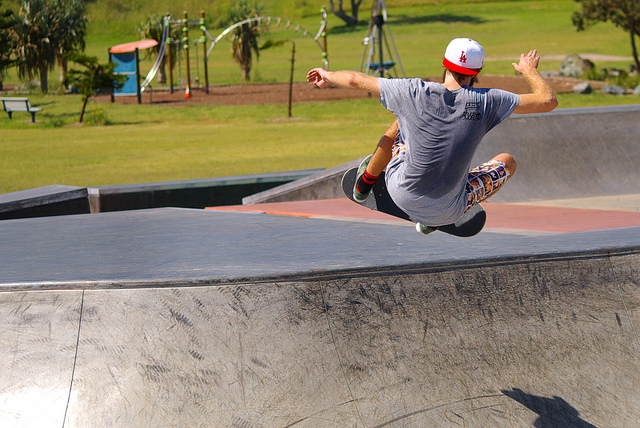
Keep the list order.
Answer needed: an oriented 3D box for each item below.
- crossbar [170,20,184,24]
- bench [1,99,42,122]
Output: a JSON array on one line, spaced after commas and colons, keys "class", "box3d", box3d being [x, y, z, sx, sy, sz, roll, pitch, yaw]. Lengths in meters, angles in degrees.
[{"class": "crossbar", "box3d": [-2.452, -3.287, 17.203, 0.223, 0.059, 0.061, -2, 25, -15]}, {"class": "bench", "box3d": [-4.602, -1.488, 15.437, 0.589, 0.405, 0.325, 1, 13, -4]}]
